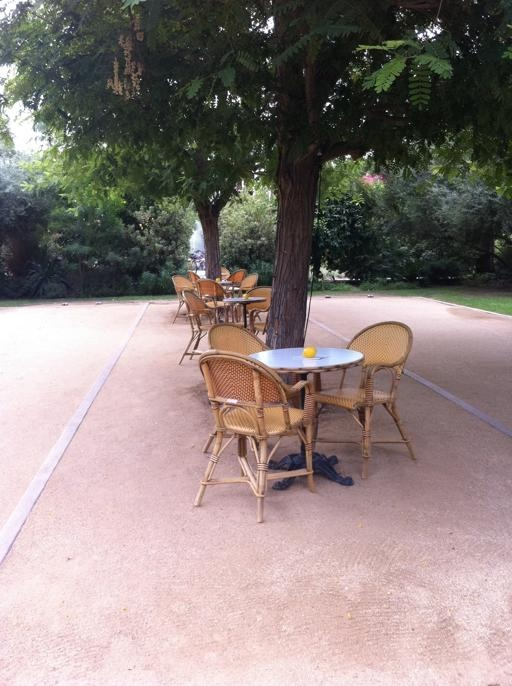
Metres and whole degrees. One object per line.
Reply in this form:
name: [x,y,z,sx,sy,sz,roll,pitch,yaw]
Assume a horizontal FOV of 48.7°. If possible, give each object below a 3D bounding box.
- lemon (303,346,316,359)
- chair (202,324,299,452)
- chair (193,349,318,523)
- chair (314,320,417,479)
lemon: [0.329,0.060,3.543,0.062,0.060,0.081,6,13,27]
chair: [0.041,0.253,4.273,0.814,1.029,0.831,0,13,3]
chair: [-0.015,0.455,3.218,0.715,0.848,0.673,0,5,-1]
chair: [0.744,0.343,4.013,0.738,0.907,0.638,-5,7,-25]
